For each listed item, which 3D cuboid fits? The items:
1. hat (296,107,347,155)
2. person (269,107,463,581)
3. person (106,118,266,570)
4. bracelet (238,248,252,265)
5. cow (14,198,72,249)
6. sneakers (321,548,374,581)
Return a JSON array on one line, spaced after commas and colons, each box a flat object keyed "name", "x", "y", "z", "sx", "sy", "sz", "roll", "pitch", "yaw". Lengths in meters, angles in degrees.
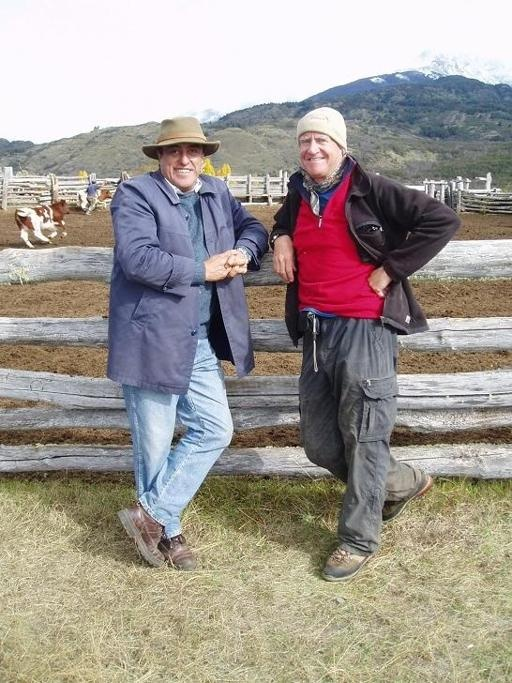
[{"name": "hat", "x": 0.286, "y": -0.897, "z": 2.677, "sx": 0.176, "sy": 0.152, "sz": 0.217, "roll": -2, "pitch": -7, "yaw": 19}, {"name": "person", "x": 0.450, "y": 0.000, "z": 2.876, "sx": 0.618, "sy": 2.026, "sz": 0.638, "roll": -5, "pitch": 13, "yaw": -14}, {"name": "person", "x": -0.313, "y": 0.021, "z": 2.896, "sx": 0.761, "sy": 2.001, "sz": 0.421, "roll": -13, "pitch": 17, "yaw": -41}, {"name": "bracelet", "x": -0.049, "y": -0.383, "z": 2.843, "sx": 0.062, "sy": 0.072, "sz": 0.034, "roll": 22, "pitch": 2, "yaw": 14}, {"name": "cow", "x": -5.250, "y": -2.931, "z": 15.728, "sx": 1.097, "sy": 1.111, "sz": 3.742, "roll": -5, "pitch": 11, "yaw": -16}, {"name": "sneakers", "x": 0.420, "y": 0.963, "z": 2.830, "sx": 0.272, "sy": 0.096, "sz": 0.101, "roll": -23, "pitch": 4, "yaw": -41}]
